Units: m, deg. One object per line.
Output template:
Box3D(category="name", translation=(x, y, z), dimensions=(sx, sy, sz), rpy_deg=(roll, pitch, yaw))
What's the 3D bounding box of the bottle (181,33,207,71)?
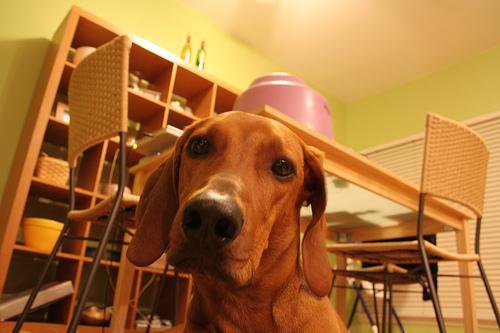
Box3D(category="bottle", translation=(-0.628, -1.267, 4.902), dimensions=(0.278, 0.370, 0.121), rpy_deg=(15, -22, -23))
